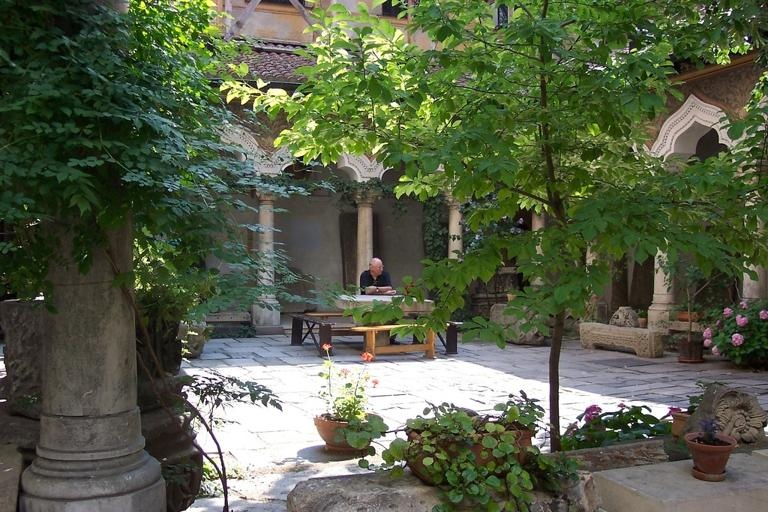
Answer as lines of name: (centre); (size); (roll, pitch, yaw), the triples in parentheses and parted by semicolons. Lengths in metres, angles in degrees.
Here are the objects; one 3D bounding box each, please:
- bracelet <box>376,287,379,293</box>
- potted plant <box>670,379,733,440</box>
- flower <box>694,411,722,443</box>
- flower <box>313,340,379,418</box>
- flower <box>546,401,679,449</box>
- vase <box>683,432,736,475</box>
bracelet: (-0.119, 0.590, 10.657); (0.065, 0.084, 0.032); (0, 4, 25)
potted plant: (2.324, 1.130, 4.556); (0.563, 0.487, 0.412); (0, -5, 31)
flower: (2.043, 1.095, 3.936); (0.155, 0.208, 0.153); (1, -5, 3)
flower: (-0.462, 1.490, 7.514); (0.854, 1.039, 0.760); (3, 1, -41)
flower: (1.812, 1.351, 4.850); (0.533, 0.186, 0.588); (-5, 1, 34)
vase: (2.013, 1.263, 3.850); (0.307, 0.211, 0.302); (10, -11, -43)
